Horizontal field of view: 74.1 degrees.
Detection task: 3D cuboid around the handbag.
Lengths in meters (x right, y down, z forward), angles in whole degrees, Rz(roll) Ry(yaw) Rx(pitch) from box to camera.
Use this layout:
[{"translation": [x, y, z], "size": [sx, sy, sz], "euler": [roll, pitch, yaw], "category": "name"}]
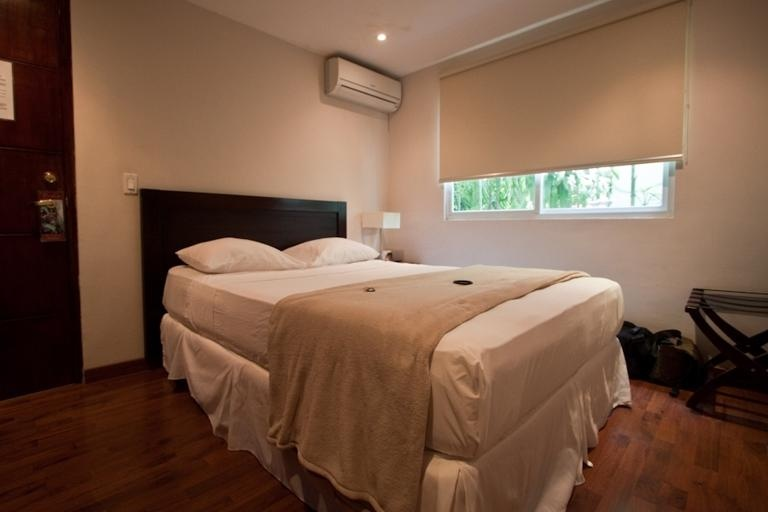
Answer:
[{"translation": [2.321, 0.837, 4.303], "size": [0.574, 0.187, 0.585], "euler": [1, 7, 36], "category": "handbag"}]
